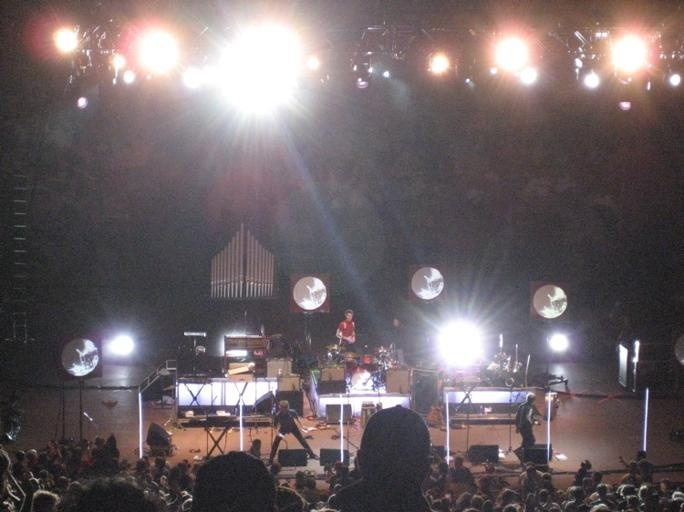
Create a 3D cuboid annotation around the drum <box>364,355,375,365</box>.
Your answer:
[{"bbox_3d":[0.727,2.842,23.749,0.318,0.331,0.502,1,-14,-1],"label":"drum"}]

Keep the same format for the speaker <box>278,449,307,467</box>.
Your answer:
[{"bbox_3d":[-1.058,4.321,18.599,0.619,0.438,0.351,1,3,4],"label":"speaker"}]

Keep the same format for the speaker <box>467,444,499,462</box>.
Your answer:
[{"bbox_3d":[3.066,4.310,18.719,0.592,0.368,0.400,0,-1,5],"label":"speaker"}]

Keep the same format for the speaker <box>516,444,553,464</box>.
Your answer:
[{"bbox_3d":[4.147,4.223,18.454,0.538,0.378,0.583,-2,-5,8],"label":"speaker"}]
